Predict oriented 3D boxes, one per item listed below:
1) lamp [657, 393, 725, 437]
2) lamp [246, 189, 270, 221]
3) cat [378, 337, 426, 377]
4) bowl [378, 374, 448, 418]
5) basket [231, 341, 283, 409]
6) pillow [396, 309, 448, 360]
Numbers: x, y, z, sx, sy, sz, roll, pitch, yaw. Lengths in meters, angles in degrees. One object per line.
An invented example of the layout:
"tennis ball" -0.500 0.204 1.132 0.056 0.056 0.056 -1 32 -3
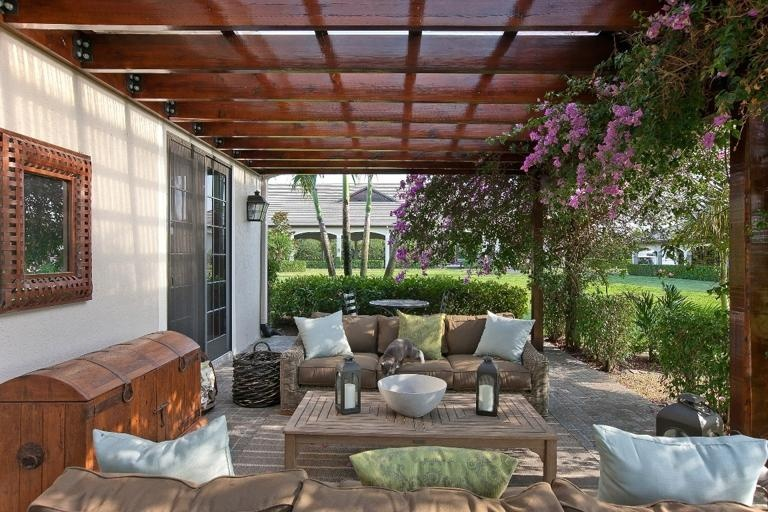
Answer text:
"lamp" 1.989 1.071 3.410 0.342 0.328 0.338 0 1 25
"lamp" -2.106 -0.856 8.823 0.435 0.649 0.455 -2 5 -28
"cat" 0.165 1.113 5.687 0.403 0.322 0.904 0 -1 27
"bowl" 0.208 1.184 4.427 0.543 0.208 0.554 5 3 0
"basket" -1.430 1.451 6.313 0.737 0.749 0.773 3 -4 -14
"pillow" 0.458 0.912 6.018 0.495 0.501 0.223 4 -18 -1
